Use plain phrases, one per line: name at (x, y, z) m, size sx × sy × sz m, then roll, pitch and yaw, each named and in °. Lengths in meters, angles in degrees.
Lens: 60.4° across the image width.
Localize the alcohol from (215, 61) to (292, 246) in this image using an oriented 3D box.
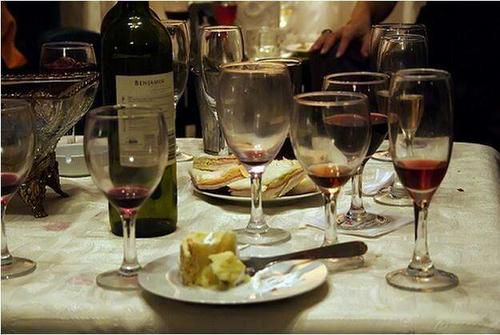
alcohol at (0.004, 0.002, 0.792) m, size 0.115 × 0.378 × 0.115 m, roll -2°, pitch 13°, yaw -3°

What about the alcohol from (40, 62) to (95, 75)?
alcohol at (-0.482, -0.258, 1.122) m, size 0.061 × 0.043 × 0.060 m, roll 6°, pitch 10°, yaw 27°

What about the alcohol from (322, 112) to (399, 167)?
alcohol at (0.180, -0.056, 0.726) m, size 0.122 × 0.093 × 0.111 m, roll 0°, pitch 7°, yaw 10°

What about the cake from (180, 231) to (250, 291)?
cake at (-0.063, 0.140, 0.678) m, size 0.120 × 0.056 × 0.148 m, roll -2°, pitch 17°, yaw -9°

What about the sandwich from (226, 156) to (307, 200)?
sandwich at (0.042, -0.004, 0.934) m, size 0.108 × 0.038 × 0.106 m, roll -30°, pitch 19°, yaw -35°

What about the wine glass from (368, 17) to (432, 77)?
wine glass at (0.361, -0.279, 1.062) m, size 0.102 × 0.148 × 0.091 m, roll 0°, pitch 45°, yaw 11°

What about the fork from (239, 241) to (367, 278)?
fork at (0.089, 0.136, 0.702) m, size 0.208 × 0.017 × 0.069 m, roll -5°, pitch 16°, yaw -9°

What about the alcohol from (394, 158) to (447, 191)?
alcohol at (0.253, 0.010, 0.641) m, size 0.074 × 0.046 × 0.033 m, roll 4°, pitch 21°, yaw 17°

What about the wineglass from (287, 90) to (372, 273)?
wineglass at (0.129, 0.033, 0.752) m, size 0.112 × 0.326 × 0.114 m, roll 9°, pitch 16°, yaw 39°

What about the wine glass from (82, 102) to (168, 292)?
wine glass at (-0.195, 0.043, 0.676) m, size 0.105 × 0.270 × 0.129 m, roll 12°, pitch 24°, yaw 35°

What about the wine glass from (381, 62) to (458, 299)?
wine glass at (0.265, 0.019, 0.657) m, size 0.119 × 0.317 × 0.147 m, roll 3°, pitch 21°, yaw 18°

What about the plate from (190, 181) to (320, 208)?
plate at (-0.005, 0.051, 0.958) m, size 0.256 × 0.045 × 0.188 m, roll -4°, pitch 12°, yaw -1°

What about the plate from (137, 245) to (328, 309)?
plate at (-0.026, 0.163, 0.651) m, size 0.285 × 0.021 × 0.131 m, roll -2°, pitch 20°, yaw 1°

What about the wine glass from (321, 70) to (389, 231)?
wine glass at (0.225, -0.038, 0.904) m, size 0.153 × 0.298 × 0.150 m, roll -4°, pitch 8°, yaw -23°
